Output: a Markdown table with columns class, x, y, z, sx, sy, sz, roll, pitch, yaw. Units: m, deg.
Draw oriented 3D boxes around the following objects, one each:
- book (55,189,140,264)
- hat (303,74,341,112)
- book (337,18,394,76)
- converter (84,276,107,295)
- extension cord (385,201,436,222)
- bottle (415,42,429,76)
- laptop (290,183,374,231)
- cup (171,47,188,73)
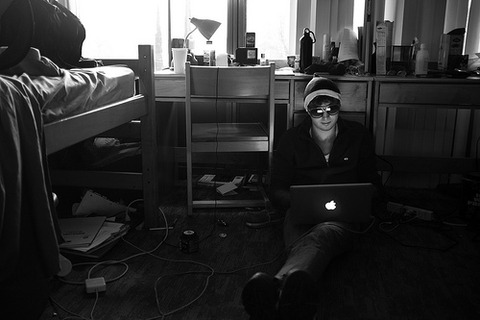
| class | x | y | z | sx | sy | sz | roll | pitch | yaw |
| --- | --- | --- | --- | --- | --- | --- | --- | --- | --- |
| book | -0.795 | 0.388 | 2.288 | 0.368 | 0.079 | 0.362 | 12 | 27 | 21 |
| hat | 0.496 | -0.414 | 2.384 | 0.219 | 0.201 | 0.235 | -4 | 10 | -2 |
| book | 0.977 | -0.824 | 2.942 | 0.367 | 0.440 | 0.167 | 8 | 9 | 12 |
| converter | -0.700 | 0.600 | 1.866 | 0.097 | 0.053 | 0.090 | -9 | 19 | -22 |
| extension cord | 1.084 | 0.328 | 2.444 | 0.170 | 0.036 | 0.158 | 9 | 9 | 29 |
| bottle | 1.283 | -0.682 | 2.708 | 0.076 | 0.172 | 0.119 | 5 | 18 | 21 |
| laptop | 0.479 | 0.225 | 1.964 | 0.351 | 0.205 | 0.236 | -1 | 11 | 4 |
| cup | -0.434 | -0.742 | 2.857 | 0.143 | 0.169 | 0.134 | 0 | 0 | 0 |
